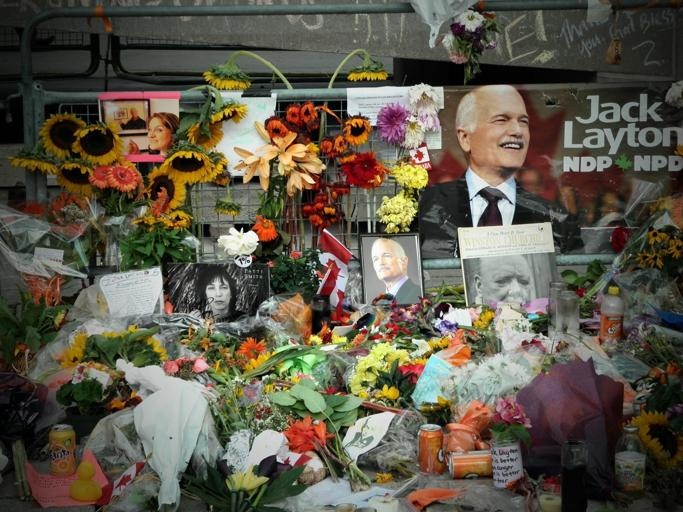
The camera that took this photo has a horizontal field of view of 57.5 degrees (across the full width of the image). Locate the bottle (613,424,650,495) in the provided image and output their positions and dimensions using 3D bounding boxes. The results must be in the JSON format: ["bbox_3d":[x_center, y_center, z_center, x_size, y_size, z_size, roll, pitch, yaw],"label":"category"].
[{"bbox_3d":[1.334,0.943,2.881,0.135,0.299,0.083,2,3,14],"label":"bottle"}]

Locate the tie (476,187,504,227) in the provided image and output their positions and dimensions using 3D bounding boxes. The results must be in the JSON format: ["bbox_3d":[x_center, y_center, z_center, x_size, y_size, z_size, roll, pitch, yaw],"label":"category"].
[{"bbox_3d":[1.034,-0.355,4.389,0.222,0.392,0.113,3,19,21],"label":"tie"}]

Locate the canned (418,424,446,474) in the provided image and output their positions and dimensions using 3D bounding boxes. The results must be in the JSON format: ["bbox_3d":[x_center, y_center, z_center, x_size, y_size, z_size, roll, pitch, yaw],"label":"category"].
[{"bbox_3d":[0.435,0.939,3.033,0.132,0.229,0.096,1,3,7],"label":"canned"}]

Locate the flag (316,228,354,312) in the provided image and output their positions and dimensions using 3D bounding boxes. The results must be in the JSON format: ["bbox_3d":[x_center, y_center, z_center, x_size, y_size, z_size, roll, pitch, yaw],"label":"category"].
[{"bbox_3d":[-0.045,0.092,4.279,0.237,0.534,0.280,1,3,-1],"label":"flag"}]

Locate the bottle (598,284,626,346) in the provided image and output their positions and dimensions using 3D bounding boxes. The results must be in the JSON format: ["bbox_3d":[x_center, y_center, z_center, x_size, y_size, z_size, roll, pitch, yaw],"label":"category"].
[{"bbox_3d":[1.637,0.362,3.791,0.140,0.350,0.211,2,3,24],"label":"bottle"}]

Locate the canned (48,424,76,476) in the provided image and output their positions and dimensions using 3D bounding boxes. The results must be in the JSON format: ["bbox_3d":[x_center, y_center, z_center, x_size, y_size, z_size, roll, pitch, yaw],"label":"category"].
[{"bbox_3d":[-1.375,0.946,3.064,0.130,0.236,0.156,0,3,-24],"label":"canned"}]

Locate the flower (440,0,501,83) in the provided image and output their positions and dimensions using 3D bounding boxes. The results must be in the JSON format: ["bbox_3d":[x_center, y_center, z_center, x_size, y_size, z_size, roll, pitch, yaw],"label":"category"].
[{"bbox_3d":[0.856,-1.462,4.364,0.435,0.509,0.333,-24,49,-14],"label":"flower"}]
